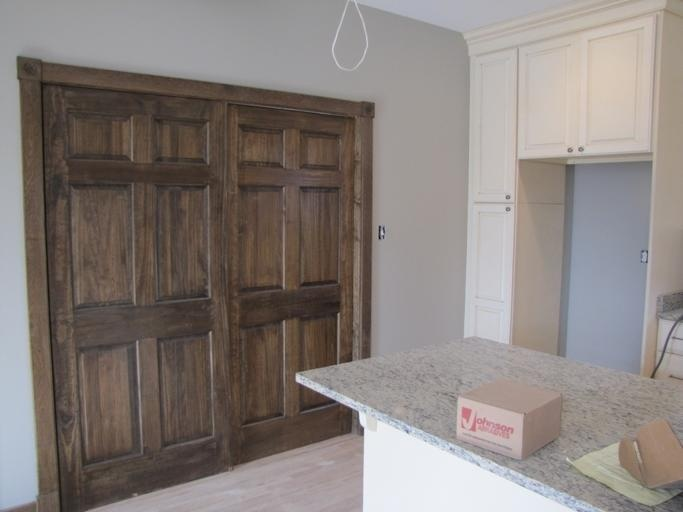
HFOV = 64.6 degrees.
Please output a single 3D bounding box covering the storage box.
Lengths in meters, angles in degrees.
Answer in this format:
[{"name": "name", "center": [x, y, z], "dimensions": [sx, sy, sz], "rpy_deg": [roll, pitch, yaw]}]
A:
[{"name": "storage box", "center": [0.613, 0.583, 1.968], "dimensions": [0.287, 0.169, 0.273], "rpy_deg": [-5, 6, -37]}]
